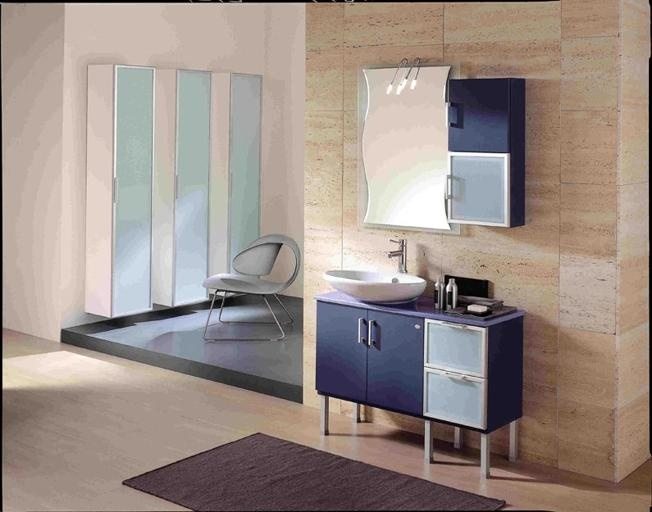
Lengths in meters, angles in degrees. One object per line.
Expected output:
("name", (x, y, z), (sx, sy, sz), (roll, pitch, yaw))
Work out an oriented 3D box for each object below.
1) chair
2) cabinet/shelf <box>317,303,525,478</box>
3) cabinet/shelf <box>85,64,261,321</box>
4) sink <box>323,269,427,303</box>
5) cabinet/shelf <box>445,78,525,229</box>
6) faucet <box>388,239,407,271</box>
("chair", (-0.823, 0.276, 6.717), (1.092, 1.103, 0.838), (0, 6, -5))
("cabinet/shelf", (0.635, 0.837, 3.878), (1.112, 0.714, 0.410), (1, 2, 38))
("cabinet/shelf", (-1.831, -0.716, 6.674), (1.638, 2.663, 0.436), (-3, 5, -21))
("sink", (0.312, 0.209, 4.185), (0.646, 0.185, 0.662), (-2, 4, -2))
("cabinet/shelf", (0.981, -0.644, 3.743), (0.482, 0.921, 0.214), (-1, 5, 15))
("faucet", (0.508, -0.002, 4.311), (0.132, 0.238, 0.234), (-1, 4, 6))
